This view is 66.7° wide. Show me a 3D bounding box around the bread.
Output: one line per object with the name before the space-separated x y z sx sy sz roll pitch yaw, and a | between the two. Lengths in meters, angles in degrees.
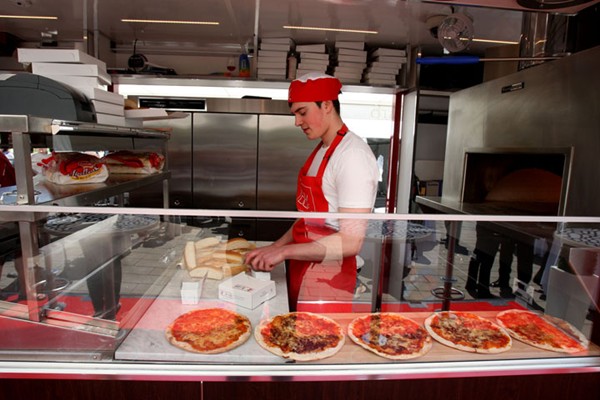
bread | -0.342 0.230 1.881 0.239 0.075 0.170 -2 21 -25

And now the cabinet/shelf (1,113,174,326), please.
cabinet/shelf | -0.919 0.087 1.931 0.356 0.561 1.050 4 6 9

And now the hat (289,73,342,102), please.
hat | 0.084 -0.631 2.541 0.321 0.136 0.217 -2 16 -6
